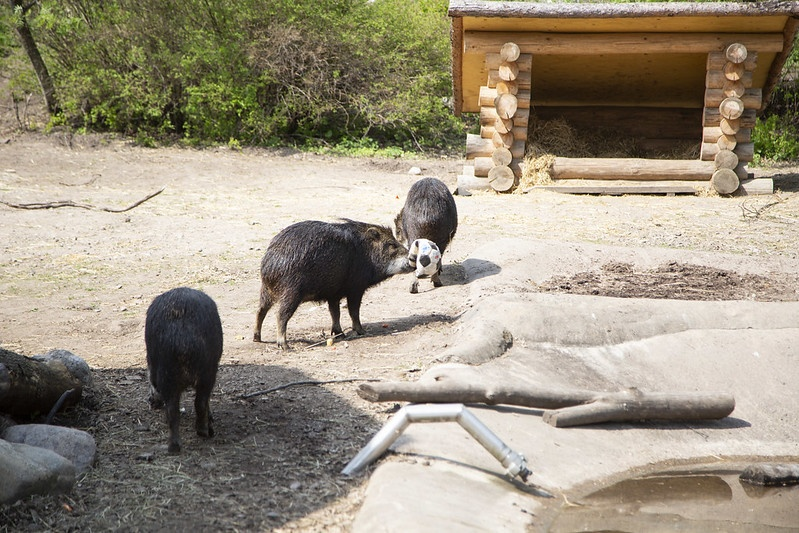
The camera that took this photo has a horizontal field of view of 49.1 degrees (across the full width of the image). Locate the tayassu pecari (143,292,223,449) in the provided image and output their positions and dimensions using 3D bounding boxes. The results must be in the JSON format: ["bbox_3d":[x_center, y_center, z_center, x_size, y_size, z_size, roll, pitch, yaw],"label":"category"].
[{"bbox_3d":[-2.377,1.153,9.829,0.781,1.681,0.784,-5,19,-15],"label":"tayassu pecari"}]

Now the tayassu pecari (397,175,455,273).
[{"bbox_3d":[0.611,-0.807,15.026,1.157,1.442,2.156,-1,10,9],"label":"tayassu pecari"}]
